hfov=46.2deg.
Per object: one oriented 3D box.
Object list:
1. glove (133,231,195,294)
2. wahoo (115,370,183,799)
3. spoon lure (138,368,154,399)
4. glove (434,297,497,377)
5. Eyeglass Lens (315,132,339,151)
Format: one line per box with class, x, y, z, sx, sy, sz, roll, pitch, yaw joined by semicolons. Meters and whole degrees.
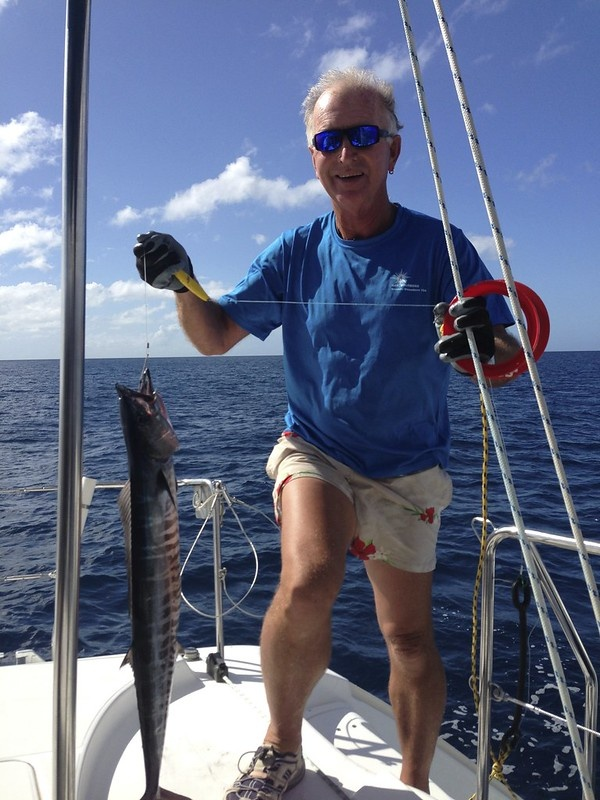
glove;-0.448;-0.450;2.208;0.117;0.182;0.095;6;-21;4
wahoo;-0.361;0.476;1.795;0.142;1.080;0.246;-3;5;-9
spoon lure;-0.390;-0.047;1.853;0.042;0.090;0.053;3;-23;-5
glove;0.503;-0.208;2.066;0.190;0.246;0.090;-1;37;34
Eyeglass Lens;0.114;-1.043;2.835;0.083;0.036;0.082;1;23;5
